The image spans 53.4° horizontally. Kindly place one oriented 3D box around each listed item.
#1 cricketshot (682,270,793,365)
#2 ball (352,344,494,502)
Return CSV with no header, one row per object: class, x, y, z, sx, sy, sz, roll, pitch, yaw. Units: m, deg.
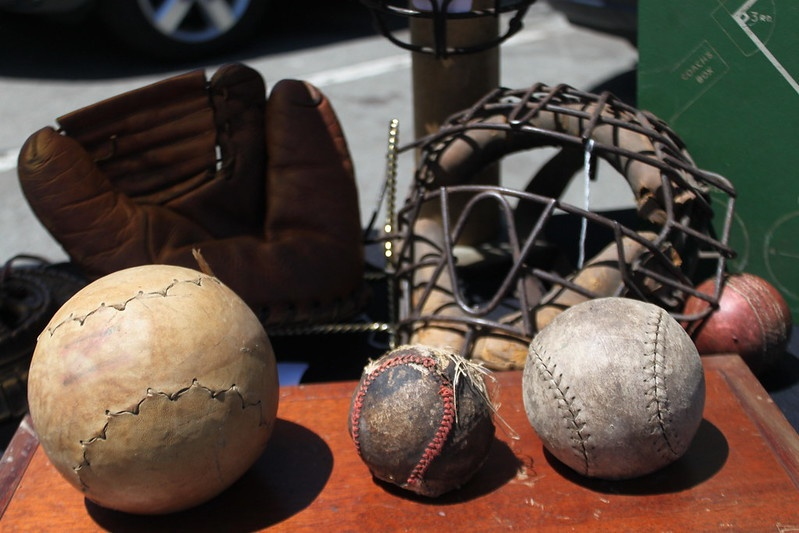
cricketshot,1.265,0.177,3.190,0.385,0.346,0.383,0,16,-12
ball,0.083,0.519,2.629,0.467,0.347,0.363,5,47,11
